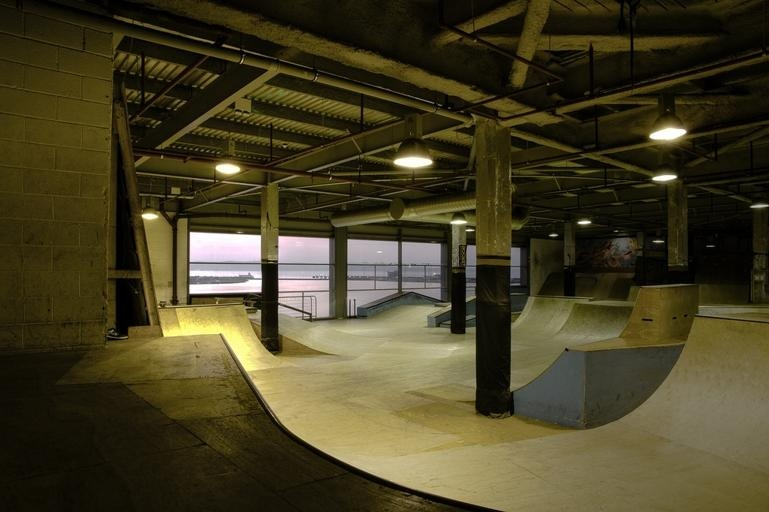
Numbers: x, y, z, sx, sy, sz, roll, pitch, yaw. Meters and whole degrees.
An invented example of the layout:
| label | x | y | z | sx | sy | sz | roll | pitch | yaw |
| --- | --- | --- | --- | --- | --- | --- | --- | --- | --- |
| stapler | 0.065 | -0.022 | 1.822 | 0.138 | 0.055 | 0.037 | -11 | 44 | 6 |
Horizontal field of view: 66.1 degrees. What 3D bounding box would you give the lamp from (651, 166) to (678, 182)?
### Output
| label | x | y | z | sx | sy | sz | roll | pitch | yaw |
| --- | --- | --- | --- | --- | --- | --- | --- | --- | --- |
| lamp | 4.771 | -1.394 | 10.298 | 0.498 | 0.219 | 0.478 | -2 | -1 | 36 |
